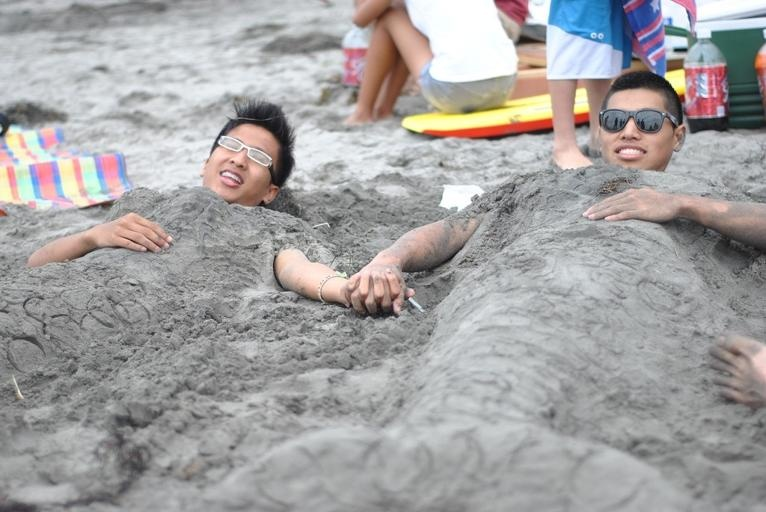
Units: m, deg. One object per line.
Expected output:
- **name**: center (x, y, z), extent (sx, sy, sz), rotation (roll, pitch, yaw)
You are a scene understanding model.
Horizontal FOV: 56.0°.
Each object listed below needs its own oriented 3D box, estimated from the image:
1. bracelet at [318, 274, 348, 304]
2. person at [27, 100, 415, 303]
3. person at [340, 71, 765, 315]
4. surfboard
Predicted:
- **bracelet**: center (-0.182, 0.112, 2.525), extent (0.110, 0.080, 0.071), rotation (-17, 25, -36)
- **person**: center (-0.660, -0.088, 2.949), extent (1.063, 0.465, 1.131), rotation (8, 16, -9)
- **person**: center (0.555, -0.264, 2.627), extent (1.357, 0.672, 0.886), rotation (-4, 20, -5)
- **surfboard**: center (0.829, -0.810, 3.875), extent (1.631, 0.154, 0.426), rotation (-16, 30, -24)
